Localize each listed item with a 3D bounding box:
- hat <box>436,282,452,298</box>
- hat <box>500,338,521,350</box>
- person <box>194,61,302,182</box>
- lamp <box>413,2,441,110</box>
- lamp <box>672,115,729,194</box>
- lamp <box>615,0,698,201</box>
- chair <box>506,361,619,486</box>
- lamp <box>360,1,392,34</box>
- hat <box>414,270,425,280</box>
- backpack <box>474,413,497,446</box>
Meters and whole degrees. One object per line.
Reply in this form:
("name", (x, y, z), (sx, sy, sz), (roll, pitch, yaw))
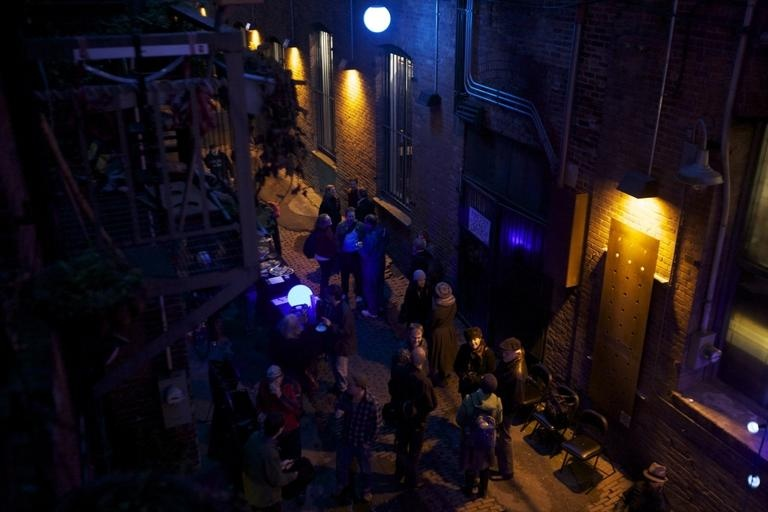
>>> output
("hat", (1.032, 0.576, 9.924), (0.279, 0.212, 0.270), (-4, 15, -5))
("hat", (1.891, 1.283, 8.505), (0.262, 0.125, 0.356), (3, 16, 18))
("person", (-1.550, -1.834, 7.542), (1.233, 1.592, 0.671), (0, 9, -29))
("lamp", (0.930, -4.015, 11.436), (0.271, 2.018, 0.542), (-9, 17, -24))
("lamp", (3.754, -1.174, 6.771), (0.440, 0.848, 0.830), (5, 17, 27))
("lamp", (3.414, -1.982, 7.393), (0.457, 2.432, 0.311), (-6, 15, -12))
("chair", (2.809, 2.634, 8.878), (0.586, 1.022, 1.608), (-8, 17, -15))
("lamp", (-0.079, -5.258, 12.654), (0.606, 0.842, 0.619), (10, 34, 18))
("hat", (0.637, 0.318, 10.396), (0.192, 0.147, 0.326), (-3, 15, -3))
("backpack", (1.362, 2.344, 7.770), (0.360, 0.521, 0.285), (3, 20, 11))
